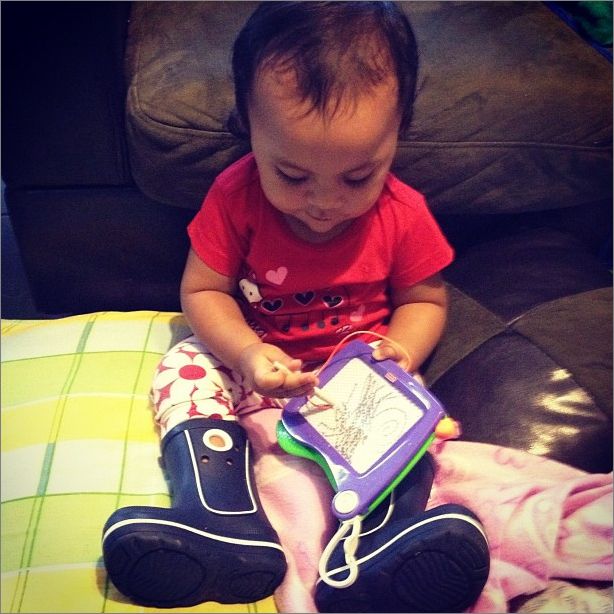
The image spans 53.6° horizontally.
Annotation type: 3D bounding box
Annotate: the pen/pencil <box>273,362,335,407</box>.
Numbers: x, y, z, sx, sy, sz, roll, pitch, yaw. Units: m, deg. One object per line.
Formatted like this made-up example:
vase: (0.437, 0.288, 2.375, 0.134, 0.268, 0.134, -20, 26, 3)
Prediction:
pen/pencil: (-0.004, 0.112, 0.869, 0.128, 0.016, 0.017, 32, 22, -5)

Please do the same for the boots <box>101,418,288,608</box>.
boots: (-0.161, 0.281, 0.834, 0.207, 0.161, 0.235, -12, 40, -10)
